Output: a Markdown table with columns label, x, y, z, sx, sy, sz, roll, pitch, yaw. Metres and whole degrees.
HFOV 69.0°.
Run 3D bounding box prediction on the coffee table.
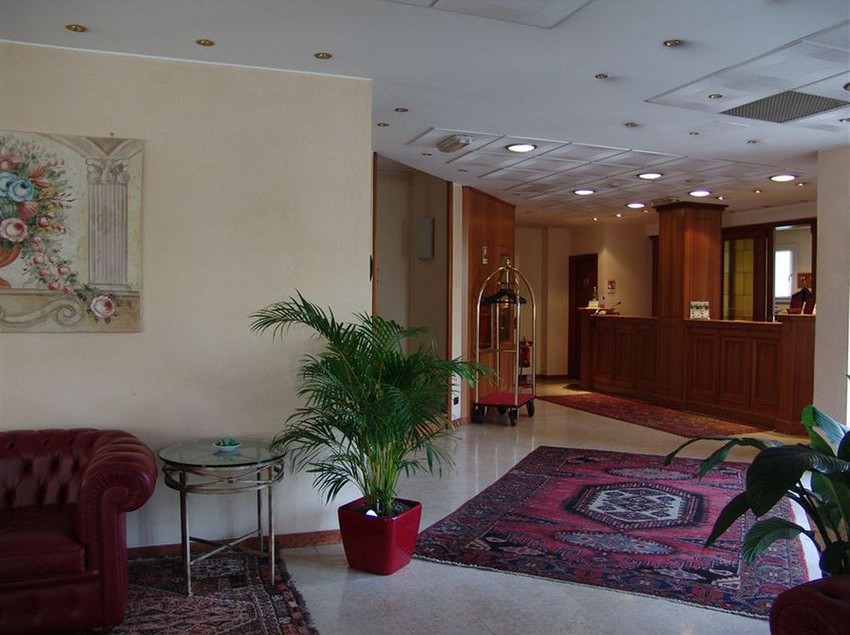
| label | x | y | z | sx | sy | sz | roll | pitch | yaw |
| --- | --- | --- | --- | --- | --- | --- | --- | --- | --- |
| coffee table | -1.156 | 1.215 | 4.079 | 0.978 | 0.933 | 0.917 | 0 | 1 | -19 |

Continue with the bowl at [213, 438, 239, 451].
| label | x | y | z | sx | sy | sz | roll | pitch | yaw |
| --- | --- | --- | --- | --- | --- | --- | --- | --- | --- |
| bowl | -1.257 | 0.811 | 3.898 | 0.141 | 0.053 | 0.223 | -1 | 4 | -18 |

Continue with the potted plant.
| label | x | y | z | sx | sy | sz | roll | pitch | yaw |
| --- | --- | --- | --- | --- | --- | --- | --- | --- | --- |
| potted plant | 0.033 | 0.643 | 4.727 | 2.225 | 1.995 | 1.765 | -2 | 4 | -38 |
